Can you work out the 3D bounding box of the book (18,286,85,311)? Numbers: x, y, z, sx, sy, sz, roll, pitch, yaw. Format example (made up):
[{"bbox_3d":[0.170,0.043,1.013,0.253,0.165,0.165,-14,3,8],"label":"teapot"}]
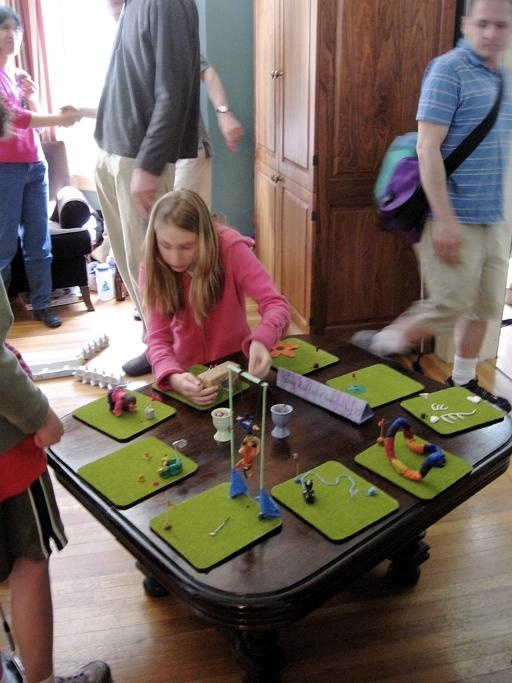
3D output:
[{"bbox_3d":[-1.307,-0.277,3.556,0.250,0.059,0.256,-8,24,-14],"label":"book"}]

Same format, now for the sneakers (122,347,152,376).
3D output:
[{"bbox_3d":[-0.541,0.096,2.476,0.079,0.048,0.142,20,35,22],"label":"sneakers"}]

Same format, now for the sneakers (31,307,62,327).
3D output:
[{"bbox_3d":[-1.200,-0.139,3.168,0.225,0.095,0.081,22,42,33],"label":"sneakers"}]

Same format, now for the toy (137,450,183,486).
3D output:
[{"bbox_3d":[-0.174,0.229,1.003,0.053,0.022,0.046,-13,32,4],"label":"toy"}]

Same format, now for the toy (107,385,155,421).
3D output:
[{"bbox_3d":[-0.291,0.131,1.245,0.087,0.037,0.067,22,33,27],"label":"toy"}]

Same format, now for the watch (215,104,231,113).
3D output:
[{"bbox_3d":[-0.157,-1.100,2.584,0.062,0.033,0.097,-4,26,-3],"label":"watch"}]

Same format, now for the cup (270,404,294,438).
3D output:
[{"bbox_3d":[0.051,0.163,1.123,0.064,0.070,0.057,2,20,0],"label":"cup"}]
